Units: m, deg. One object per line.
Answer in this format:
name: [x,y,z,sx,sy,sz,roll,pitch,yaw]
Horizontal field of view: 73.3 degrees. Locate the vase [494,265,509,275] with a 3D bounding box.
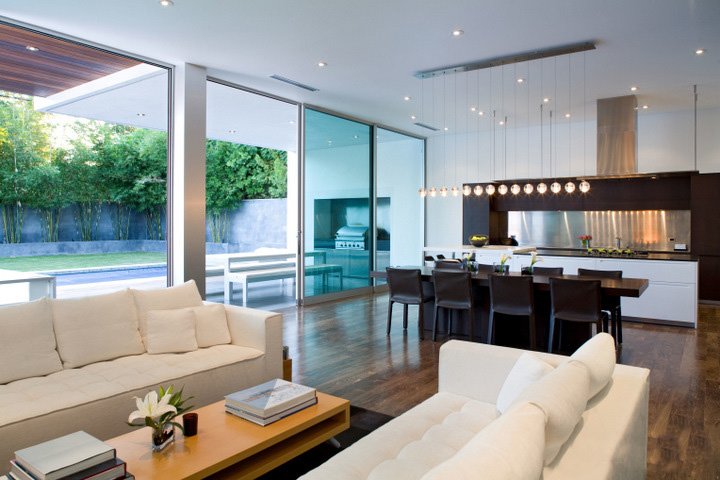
vase: [2.030,0.422,6.883,0.166,0.119,0.164,-3,5,-19]

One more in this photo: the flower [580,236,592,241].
flower: [4.488,-0.042,9.595,0.154,0.058,0.158,0,5,18]

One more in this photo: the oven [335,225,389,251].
oven: [-0.001,-0.025,10.128,0.501,0.436,0.898,-2,-2,33]

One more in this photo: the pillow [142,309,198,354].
pillow: [-1.903,0.917,4.764,0.387,0.371,0.149,-2,-26,-20]

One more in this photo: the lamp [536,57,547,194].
lamp: [3.795,-2.135,10.029,0.107,0.110,5.259,5,-14,22]

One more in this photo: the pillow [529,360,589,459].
pillow: [1.210,1.033,3.196,0.279,0.385,0.847,6,16,16]

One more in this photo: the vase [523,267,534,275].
vase: [2.197,0.400,6.306,0.156,0.118,0.115,-1,3,-2]

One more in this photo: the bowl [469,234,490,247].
bowl: [2.263,0.014,9.303,0.275,0.151,0.282,-1,0,0]

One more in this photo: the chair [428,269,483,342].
chair: [1.344,0.804,6.680,0.540,0.938,0.656,2,14,25]
